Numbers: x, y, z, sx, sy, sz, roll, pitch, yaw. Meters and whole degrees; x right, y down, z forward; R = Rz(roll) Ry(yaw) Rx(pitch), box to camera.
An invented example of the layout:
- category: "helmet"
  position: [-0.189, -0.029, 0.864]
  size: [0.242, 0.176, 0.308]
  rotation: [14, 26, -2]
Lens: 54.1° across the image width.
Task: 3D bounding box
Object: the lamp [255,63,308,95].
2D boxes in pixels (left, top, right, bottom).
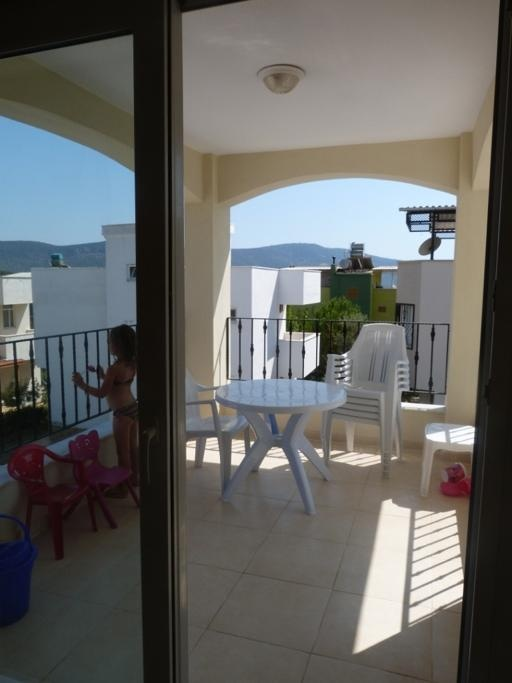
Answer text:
- category: "lamp"
  position: [0.134, -1.359, 2.604]
  size: [0.253, 0.096, 0.185]
  rotation: [-1, 4, -12]

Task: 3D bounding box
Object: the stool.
- category: "stool"
  position: [1.228, 0.776, 3.239]
  size: [0.394, 0.526, 0.502]
  rotation: [0, 8, 11]

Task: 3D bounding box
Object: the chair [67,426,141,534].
- category: "chair"
  position: [-0.393, 0.350, 1.297]
  size: [0.124, 0.244, 0.124]
  rotation: [-1, 10, 36]

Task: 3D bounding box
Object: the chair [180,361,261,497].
- category: "chair"
  position: [-0.323, 0.558, 3.347]
  size: [0.340, 0.749, 0.443]
  rotation: [-2, 9, 10]
